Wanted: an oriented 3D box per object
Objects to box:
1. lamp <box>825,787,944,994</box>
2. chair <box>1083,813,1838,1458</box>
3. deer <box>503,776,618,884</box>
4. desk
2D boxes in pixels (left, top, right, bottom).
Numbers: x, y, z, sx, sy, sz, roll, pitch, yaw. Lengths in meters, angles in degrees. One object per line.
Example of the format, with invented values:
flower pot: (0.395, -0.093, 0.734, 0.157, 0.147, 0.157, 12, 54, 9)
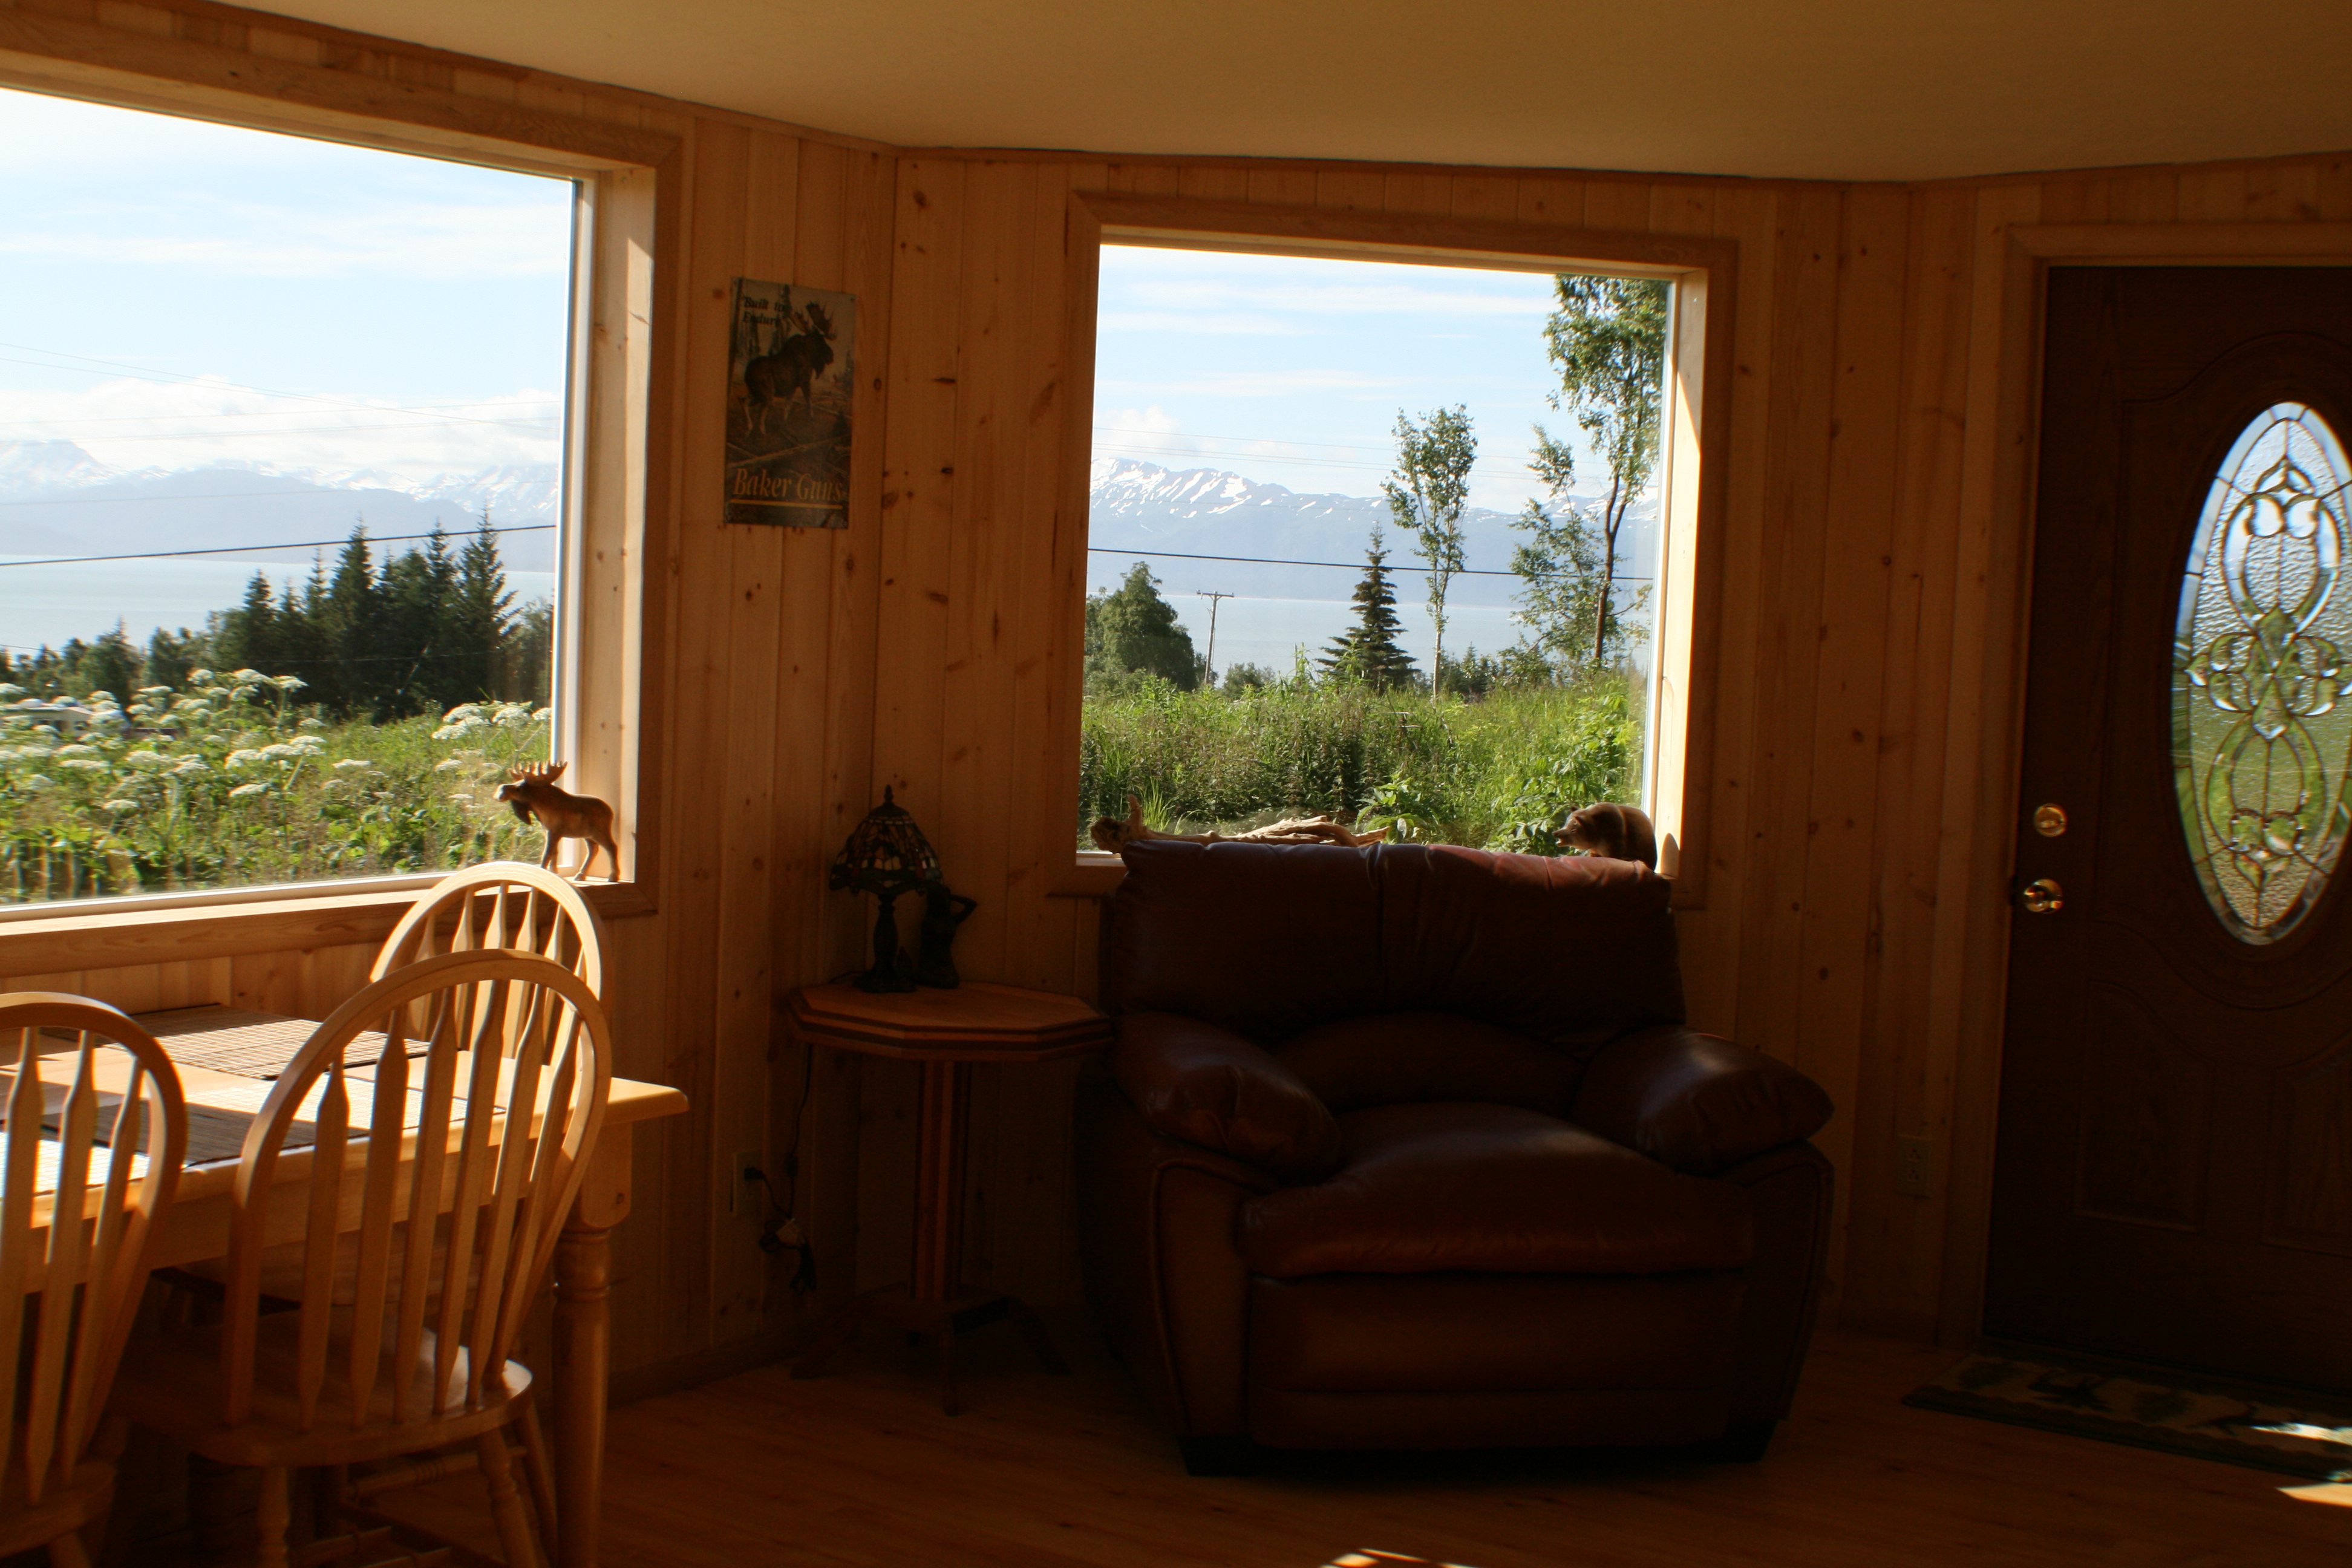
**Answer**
lamp: (-0.747, 0.280, 4.661, 0.307, 0.501, 0.303, 1, -3, -8)
chair: (0.570, 0.837, 4.601, 1.506, 1.309, 1.473, 1, -1, -4)
deer: (-1.484, 0.089, 4.284, 0.313, 0.251, 0.136, 17, -25, -41)
desk: (-0.570, 0.977, 4.871, 0.862, 1.038, 0.894, 2, 6, 20)
